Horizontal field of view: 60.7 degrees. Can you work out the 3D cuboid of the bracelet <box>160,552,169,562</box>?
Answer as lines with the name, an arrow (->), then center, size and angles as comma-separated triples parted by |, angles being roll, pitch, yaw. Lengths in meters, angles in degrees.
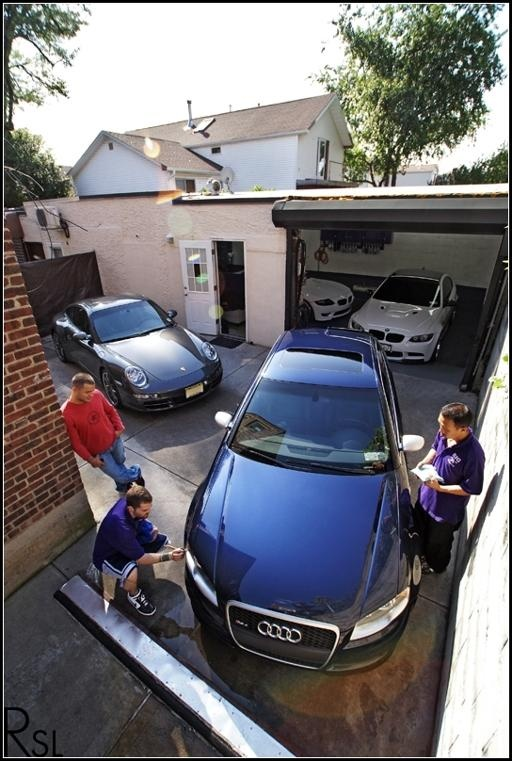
bracelet -> -0.742, 1.410, 3.503 | 0.052, 0.062, 0.069 | 0, 13, -9

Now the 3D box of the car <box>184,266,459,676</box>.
car -> 0.526, 0.679, 3.663 | 1.223, 0.963, 2.795 | 5, 34, 16

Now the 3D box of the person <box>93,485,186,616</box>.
person -> -0.945, 1.247, 3.414 | 0.533, 1.088, 0.551 | 20, 32, 40

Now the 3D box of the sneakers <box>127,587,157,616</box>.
sneakers -> -0.925, 1.686, 3.460 | 0.311, 0.127, 0.131 | 16, 23, 30

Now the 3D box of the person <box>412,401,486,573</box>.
person -> 1.531, 0.882, 3.442 | 0.408, 1.418, 0.592 | -6, 43, -5

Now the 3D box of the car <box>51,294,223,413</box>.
car -> -2.058, -0.637, 6.840 | 1.372, 0.945, 3.060 | -22, 41, -37

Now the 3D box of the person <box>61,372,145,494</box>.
person -> -1.490, 0.593, 4.299 | 0.455, 1.550, 0.708 | -1, 24, 2

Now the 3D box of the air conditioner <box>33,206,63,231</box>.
air conditioner -> -5.519, -4.314, 11.594 | 0.616, 0.558, 0.343 | 11, 37, 14
